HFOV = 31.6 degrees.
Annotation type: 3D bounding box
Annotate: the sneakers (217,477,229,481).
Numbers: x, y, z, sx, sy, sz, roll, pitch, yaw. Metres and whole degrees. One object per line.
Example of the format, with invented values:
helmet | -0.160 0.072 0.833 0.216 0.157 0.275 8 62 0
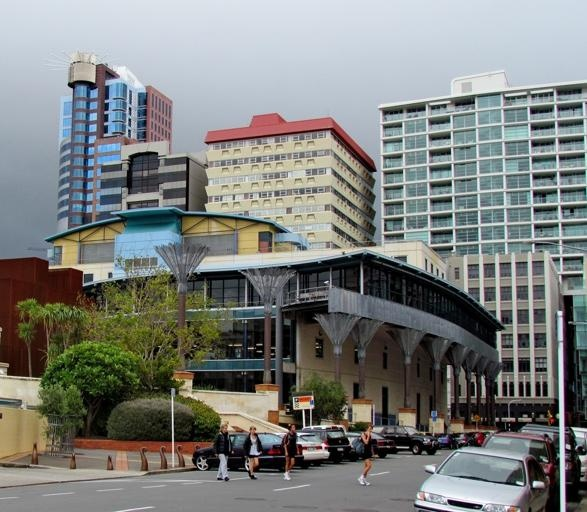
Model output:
sneakers | -2.633 8.384 38.818 0.437 0.206 0.150 -3 -5 22
